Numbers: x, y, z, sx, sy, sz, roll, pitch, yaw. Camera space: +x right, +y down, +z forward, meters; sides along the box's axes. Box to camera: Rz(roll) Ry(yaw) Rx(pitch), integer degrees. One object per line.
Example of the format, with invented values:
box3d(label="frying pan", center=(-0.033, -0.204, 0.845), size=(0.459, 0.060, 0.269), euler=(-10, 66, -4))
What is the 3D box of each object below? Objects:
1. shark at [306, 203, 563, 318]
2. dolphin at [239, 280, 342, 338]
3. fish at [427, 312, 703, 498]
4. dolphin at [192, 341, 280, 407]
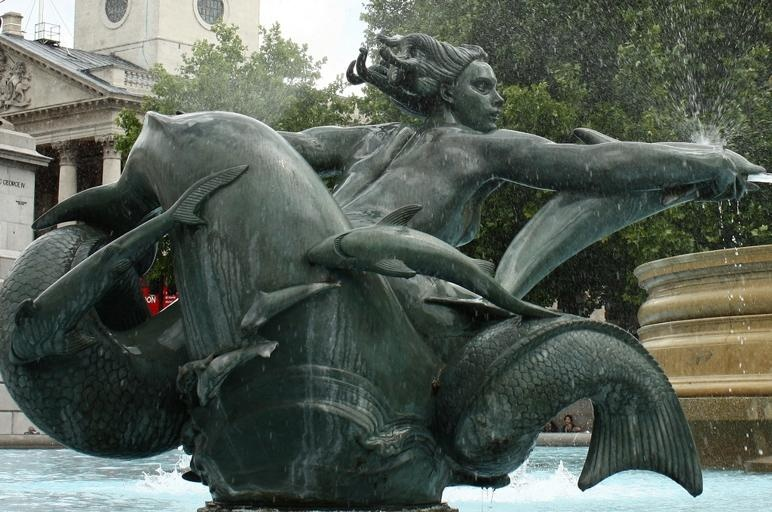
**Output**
box3d(label="shark", center=(0.294, 0.027, 12.339), size=(1.719, 0.985, 0.582), euler=(13, 14, 0))
box3d(label="dolphin", center=(-0.879, 0.459, 12.340), size=(0.813, 0.499, 0.099), euler=(3, -4, -8))
box3d(label="fish", center=(1.619, 1.317, 12.537), size=(2.332, 1.518, 0.310), euler=(2, -4, -4))
box3d(label="dolphin", center=(-1.393, 0.978, 12.437), size=(0.902, 0.362, 0.254), euler=(-27, -32, 3))
